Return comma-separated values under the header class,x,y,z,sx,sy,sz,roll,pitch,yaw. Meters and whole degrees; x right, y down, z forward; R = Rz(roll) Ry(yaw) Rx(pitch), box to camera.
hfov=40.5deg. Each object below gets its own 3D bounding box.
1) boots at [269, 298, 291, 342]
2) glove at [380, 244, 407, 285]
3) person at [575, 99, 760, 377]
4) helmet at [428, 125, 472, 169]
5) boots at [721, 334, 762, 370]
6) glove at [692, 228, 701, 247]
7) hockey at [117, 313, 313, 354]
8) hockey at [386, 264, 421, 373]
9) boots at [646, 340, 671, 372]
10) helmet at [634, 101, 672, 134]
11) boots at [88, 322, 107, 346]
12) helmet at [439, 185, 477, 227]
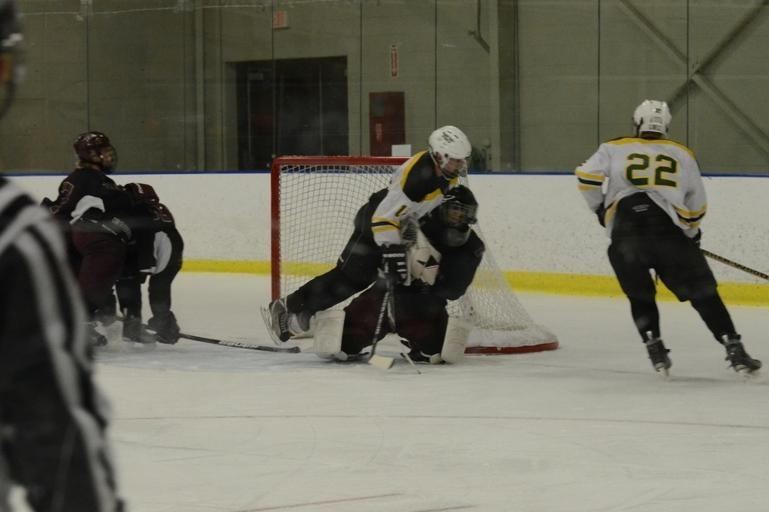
class,x,y,z,sx,sy,sz,roll,pitch,yaw
boots,-0.627,0.378,6.255,0.101,0.265,0.112,-5,16,-30
glove,0.063,0.038,5.894,0.146,0.224,0.088,1,12,3
person,1.514,-0.023,5.697,0.618,1.212,0.915,-4,12,-18
helmet,0.367,-0.619,5.910,0.259,0.226,0.185,7,41,19
boots,1.872,0.508,5.499,0.125,0.193,0.180,-10,15,-40
glove,1.744,-0.112,5.864,0.042,0.112,0.051,2,-12,6
hockey,-1.047,0.478,6.483,1.205,0.159,0.054,8,13,8
hockey,0.114,0.331,5.966,0.094,0.638,0.080,-29,-13,17
boots,1.452,0.520,5.585,0.088,0.200,0.092,-23,-5,19
helmet,1.504,-0.781,5.934,0.200,0.174,0.211,11,18,8
boots,-1.746,0.459,6.313,0.083,0.064,0.182,3,20,-39
helmet,0.427,-0.287,5.930,0.195,0.193,0.235,4,1,-24
